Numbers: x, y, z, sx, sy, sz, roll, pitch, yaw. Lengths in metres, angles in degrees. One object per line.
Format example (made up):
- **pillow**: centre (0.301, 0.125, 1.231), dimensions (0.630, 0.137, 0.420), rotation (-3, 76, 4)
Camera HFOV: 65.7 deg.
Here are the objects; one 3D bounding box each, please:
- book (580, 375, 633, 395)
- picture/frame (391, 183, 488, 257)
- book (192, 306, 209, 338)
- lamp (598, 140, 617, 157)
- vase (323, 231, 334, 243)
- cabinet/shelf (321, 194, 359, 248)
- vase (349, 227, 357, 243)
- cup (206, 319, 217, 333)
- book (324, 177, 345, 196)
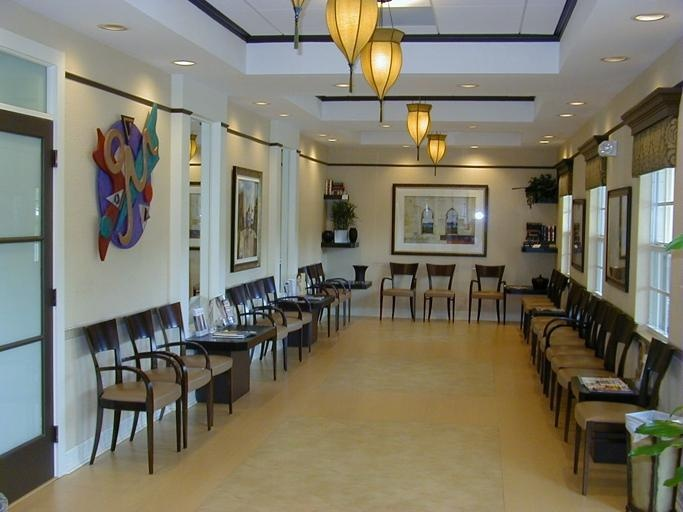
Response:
- **book**: centre (2.408, 1.168, 4.835), dimensions (0.421, 0.058, 0.606), rotation (3, 5, 22)
- **picture/frame**: centre (2.253, -0.810, 11.624), dimensions (1.458, 1.197, 0.057), rotation (1, -1, 4)
- **book**: centre (-1.665, 0.778, 6.192), dimensions (0.097, 0.305, 0.307), rotation (-11, -3, 13)
- **lamp**: centre (3.220, -1.294, 6.361), dimensions (0.225, 0.196, 0.155), rotation (5, 7, 41)
- **vase**: centre (-0.296, -0.427, 11.446), dimensions (0.218, 0.244, 0.241), rotation (3, 8, 9)
- **cabinet/shelf**: centre (-0.014, -0.770, 11.827), dimensions (0.998, 1.492, 0.989), rotation (0, 1, 3)
- **vase**: centre (0.246, -0.449, 11.551), dimensions (0.187, 0.329, 0.204), rotation (0, 5, -8)
- **cup**: centre (-1.595, 0.861, 6.487), dimensions (0.123, 0.244, 0.124), rotation (0, -2, 0)
- **book**: centre (-0.157, -1.458, 11.724), dimensions (0.448, 0.490, 0.354), rotation (-1, -7, -1)
